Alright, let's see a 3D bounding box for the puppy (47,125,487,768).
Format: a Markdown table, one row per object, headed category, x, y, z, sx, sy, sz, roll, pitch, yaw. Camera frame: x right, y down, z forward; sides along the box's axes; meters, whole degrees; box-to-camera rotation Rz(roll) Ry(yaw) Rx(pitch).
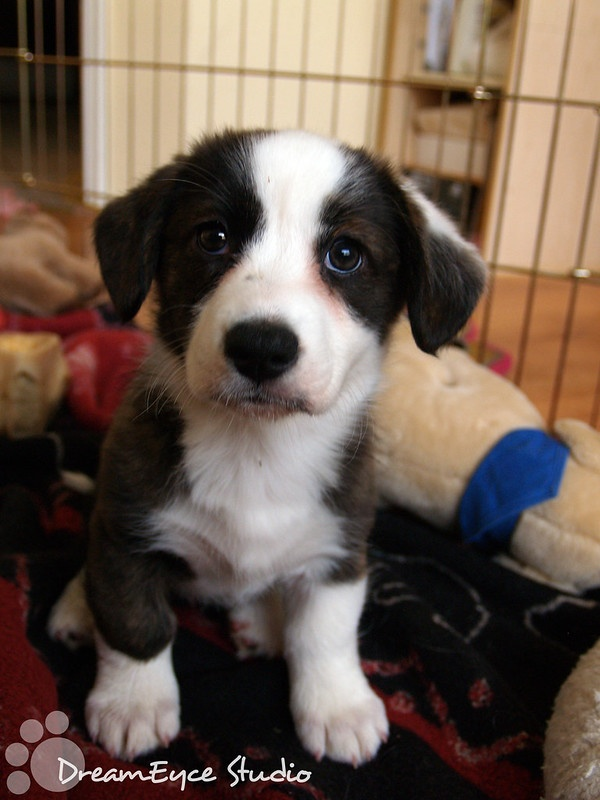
| category | x | y | z | sx | sy | sz | roll | pitch | yaw |
| --- | --- | --- | --- | --- | --- | --- | --- | --- | --- |
| puppy | -0.071 | 0.027 | 1.205 | 0.536 | 0.846 | 0.762 | 1 | 29 | -16 |
